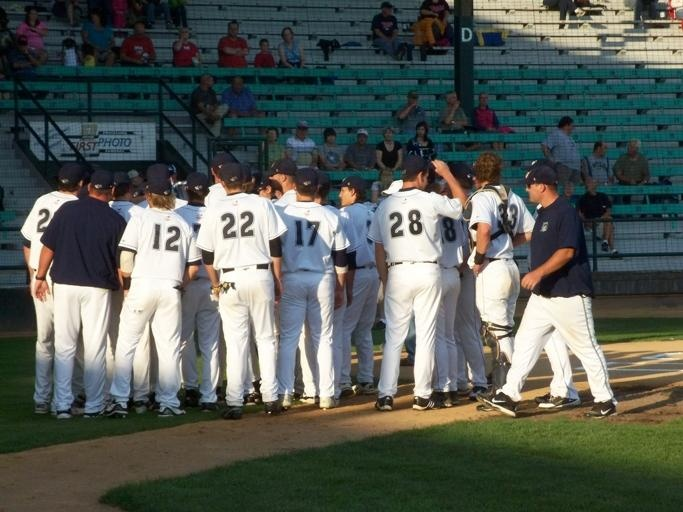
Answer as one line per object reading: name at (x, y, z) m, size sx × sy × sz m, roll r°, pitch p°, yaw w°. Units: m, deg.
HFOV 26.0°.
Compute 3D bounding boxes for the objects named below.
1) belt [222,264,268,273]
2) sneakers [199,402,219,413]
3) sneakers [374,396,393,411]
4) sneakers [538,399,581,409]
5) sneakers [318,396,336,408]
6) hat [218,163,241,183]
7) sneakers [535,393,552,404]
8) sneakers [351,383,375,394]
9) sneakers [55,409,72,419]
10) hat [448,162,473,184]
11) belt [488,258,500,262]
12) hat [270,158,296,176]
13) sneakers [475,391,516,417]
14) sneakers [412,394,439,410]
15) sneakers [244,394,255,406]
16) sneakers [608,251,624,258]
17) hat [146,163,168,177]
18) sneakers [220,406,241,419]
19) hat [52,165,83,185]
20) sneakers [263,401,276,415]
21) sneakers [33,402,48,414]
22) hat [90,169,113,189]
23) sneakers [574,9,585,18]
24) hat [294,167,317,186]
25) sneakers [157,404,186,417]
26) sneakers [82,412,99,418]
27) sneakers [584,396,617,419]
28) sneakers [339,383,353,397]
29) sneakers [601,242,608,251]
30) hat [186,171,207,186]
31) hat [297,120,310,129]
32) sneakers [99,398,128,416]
belt at (-1.289, 0.154, 20.645) m, size 0.631 × 0.112 × 0.101 m, roll -2°, pitch 8°, yaw 2°
sneakers at (-1.826, 2.164, 21.113) m, size 0.210 × 0.095 × 0.128 m, roll -6°, pitch -5°, yaw 19°
sneakers at (0.621, 2.089, 20.977) m, size 0.238 × 0.212 × 0.190 m, roll -3°, pitch 8°, yaw -3°
sneakers at (3.057, 2.087, 20.992) m, size 0.573 × 0.223 × 0.188 m, roll 2°, pitch -3°, yaw -2°
sneakers at (-0.167, 2.107, 21.158) m, size 0.238 × 0.160 × 0.171 m, roll -2°, pitch 8°, yaw -1°
hat at (-1.500, -1.180, 20.876) m, size 0.317 × 0.300 × 0.341 m, roll -3°, pitch 8°, yaw -5°
sneakers at (2.863, 2.040, 21.114) m, size 0.229 × 0.091 × 0.103 m, roll -1°, pitch 29°, yaw -44°
sneakers at (0.360, 1.977, 21.997) m, size 0.374 × 0.169 × 0.136 m, roll 2°, pitch 3°, yaw 24°
sneakers at (-3.806, 2.220, 20.814) m, size 0.228 × 0.130 × 0.176 m, roll -4°, pitch 8°, yaw -11°
hat at (1.721, -1.214, 21.602) m, size 0.442 × 0.304 × 0.251 m, roll -9°, pitch 11°, yaw -40°
belt at (2.162, 0.046, 20.981) m, size 0.148 × 0.049 × 0.015 m, roll -1°, pitch 9°, yaw 10°
hat at (-0.781, -1.312, 21.487) m, size 0.339 × 0.233 × 0.501 m, roll -2°, pitch 8°, yaw -2°
sneakers at (2.142, 2.053, 20.734) m, size 0.654 × 0.271 × 0.245 m, roll 23°, pitch 3°, yaw 34°
sneakers at (1.217, 2.084, 21.002) m, size 0.384 × 0.202 × 0.126 m, roll -6°, pitch 9°, yaw -27°
sneakers at (-1.259, 2.083, 21.510) m, size 0.179 × 0.148 × 0.218 m, roll -4°, pitch 8°, yaw -14°
sneakers at (5.294, -0.040, 28.945) m, size 0.132 × 0.157 × 0.353 m, roll 5°, pitch 11°, yaw 42°
hat at (-2.511, -1.242, 21.068) m, size 0.220 × 0.121 × 0.216 m, roll 3°, pitch 9°, yaw 19°
sneakers at (-1.483, 2.186, 20.686) m, size 0.265 × 0.190 × 0.187 m, roll -3°, pitch 8°, yaw -4°
hat at (-3.769, -1.182, 21.138) m, size 0.342 × 0.305 × 0.256 m, roll -3°, pitch 8°, yaw -8°
sneakers at (-0.946, 2.151, 20.852) m, size 0.188 × 0.191 × 0.096 m, roll -1°, pitch 8°, yaw 9°
sneakers at (-4.155, 2.164, 21.009) m, size 0.218 × 0.160 × 0.158 m, roll -4°, pitch 8°, yaw -12°
hat at (-3.304, -1.094, 20.948) m, size 0.338 × 0.260 × 0.232 m, roll -4°, pitch 8°, yaw -14°
sneakers at (5.989, -6.237, 37.610) m, size 0.132 × 0.193 × 0.259 m, roll 16°, pitch 9°, yaw -5°
hat at (-0.461, -1.145, 21.106) m, size 0.318 × 0.239 × 0.268 m, roll -2°, pitch 8°, yaw -1°
sneakers at (-2.338, 2.194, 20.816) m, size 0.420 × 0.165 × 0.136 m, roll 0°, pitch 0°, yaw -13°
sneakers at (-3.422, 2.243, 20.815) m, size 0.238 × 0.070 × 0.104 m, roll -3°, pitch 8°, yaw -7°
sneakers at (3.550, 2.107, 20.502) m, size 0.405 × 0.256 × 0.173 m, roll -1°, pitch 8°, yaw 8°
sneakers at (0.088, 1.991, 21.822) m, size 0.239 × 0.183 × 0.163 m, roll -5°, pitch 9°, yaw -19°
sneakers at (5.094, -0.198, 28.929) m, size 0.132 × 0.185 × 0.131 m, roll -1°, pitch 8°, yaw 6°
hat at (-2.010, -1.110, 21.179) m, size 0.300 × 0.206 × 0.220 m, roll -3°, pitch 8°, yaw -6°
hat at (-0.721, -2.628, 29.239) m, size 0.193 × 0.094 × 0.288 m, roll 2°, pitch 7°, yaw -9°
sneakers at (-3.149, 2.167, 20.830) m, size 0.425 × 0.185 × 0.156 m, roll 3°, pitch -4°, yaw 27°
